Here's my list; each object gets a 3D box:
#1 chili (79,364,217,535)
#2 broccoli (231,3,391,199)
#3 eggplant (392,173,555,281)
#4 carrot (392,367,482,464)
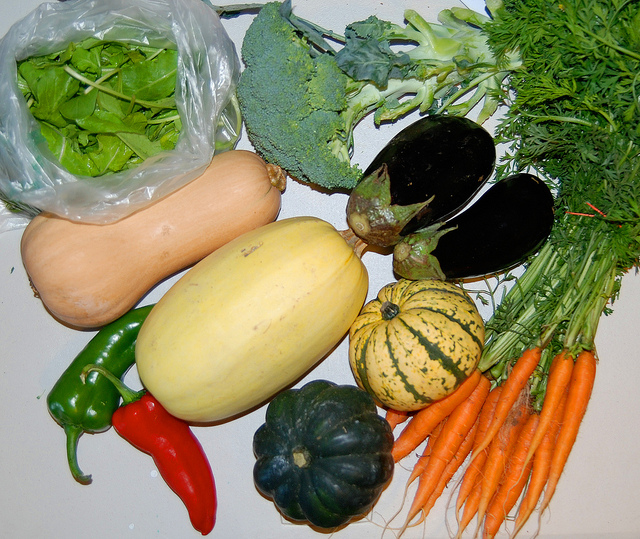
[{"bbox_3d":[-0.449,0.465,1.851,0.513,0.221,0.153,41,56,14],"label":"chili"},{"bbox_3d":[-0.034,-0.456,1.792,0.416,0.330,0.296,26,53,5],"label":"broccoli"},{"bbox_3d":[0.377,-0.139,1.862,0.416,0.331,0.327,-11,22,-28],"label":"eggplant"},{"bbox_3d":[0.317,0.385,1.774,0.084,0.065,0.328,43,95,-7],"label":"carrot"}]
